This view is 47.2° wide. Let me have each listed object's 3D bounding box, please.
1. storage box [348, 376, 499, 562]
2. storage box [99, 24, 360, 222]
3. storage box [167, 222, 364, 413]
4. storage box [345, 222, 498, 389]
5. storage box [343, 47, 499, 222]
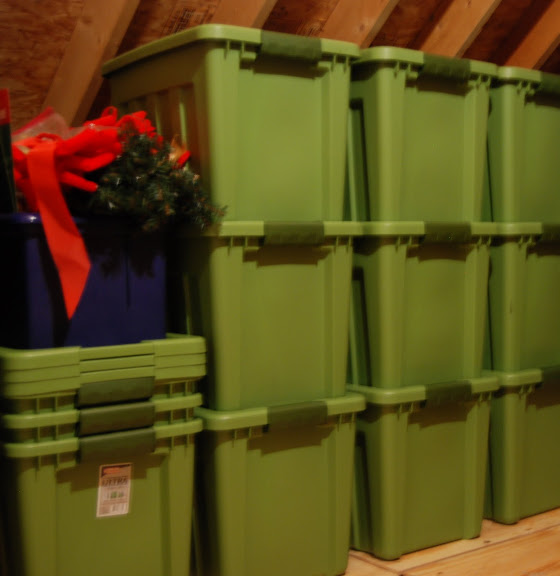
[{"bbox_3d":[0.414,0.453,2.027,0.495,0.619,0.367,1,-3,-32],"label":"storage box"},{"bbox_3d":[-0.144,-0.314,1.717,0.467,0.690,0.448,0,0,-34],"label":"storage box"},{"bbox_3d":[-0.008,-0.014,1.757,0.441,0.545,0.368,-6,29,-15],"label":"storage box"},{"bbox_3d":[0.444,0.065,1.999,0.398,0.527,0.335,0,2,-16],"label":"storage box"},{"bbox_3d":[0.445,-0.571,2.013,0.372,0.584,0.564,7,42,4],"label":"storage box"}]
